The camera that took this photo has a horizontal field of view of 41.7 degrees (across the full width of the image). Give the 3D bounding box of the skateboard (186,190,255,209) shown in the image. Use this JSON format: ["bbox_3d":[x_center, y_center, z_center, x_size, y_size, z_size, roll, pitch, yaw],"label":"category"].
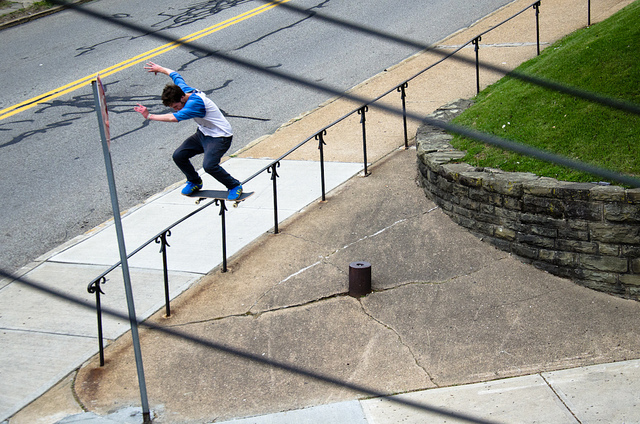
[{"bbox_3d":[-1.711,-0.237,14.576,0.887,0.129,0.218,7,27,17],"label":"skateboard"}]
